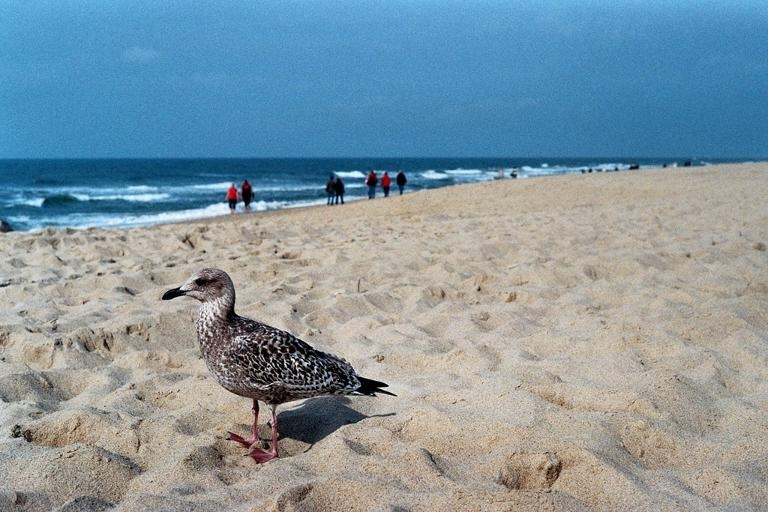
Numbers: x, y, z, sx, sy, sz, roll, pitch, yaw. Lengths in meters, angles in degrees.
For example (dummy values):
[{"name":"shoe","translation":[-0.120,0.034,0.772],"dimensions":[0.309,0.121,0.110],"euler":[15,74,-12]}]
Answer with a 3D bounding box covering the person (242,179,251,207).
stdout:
[{"name":"person","translation":[-4.167,-1.842,23.567],"dimensions":[0.248,0.931,0.994],"euler":[-5,13,-8]}]
